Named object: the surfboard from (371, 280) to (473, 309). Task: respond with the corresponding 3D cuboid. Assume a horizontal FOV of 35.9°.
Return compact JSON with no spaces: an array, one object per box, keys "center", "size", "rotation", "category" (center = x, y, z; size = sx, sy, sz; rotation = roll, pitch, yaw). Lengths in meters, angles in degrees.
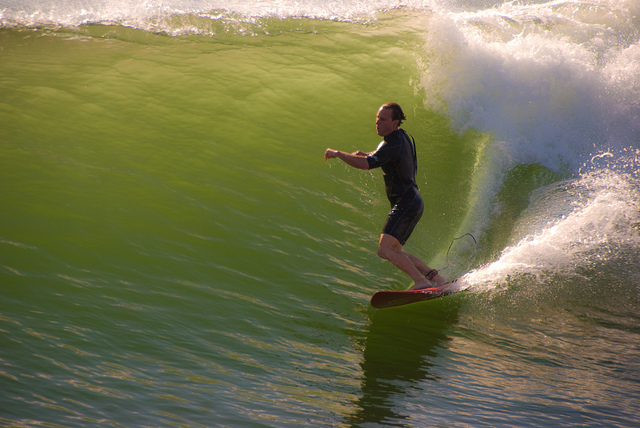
[{"center":[1.806,1.319,16.627],"size":[2.544,0.395,0.308],"rotation":[-1,36,-23],"category":"surfboard"}]
